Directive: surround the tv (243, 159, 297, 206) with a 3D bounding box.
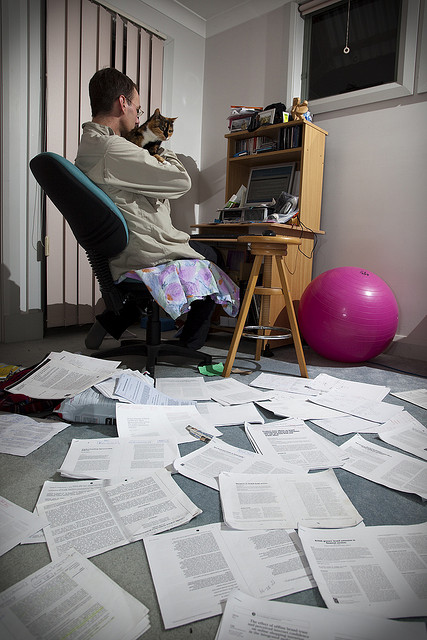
[{"bbox_3d":[0.369,-0.872,2.945,0.030,0.343,0.398,20,-10,-41],"label":"tv"}]

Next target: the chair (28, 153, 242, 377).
[{"bbox_3d":[-0.299,-0.233,1.930,0.783,0.799,0.564,-5,10,-27],"label":"chair"}]

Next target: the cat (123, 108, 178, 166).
[{"bbox_3d":[-0.306,-0.805,1.999,0.332,0.218,0.113,26,27,37],"label":"cat"}]

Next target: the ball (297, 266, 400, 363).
[{"bbox_3d":[0.715,-0.033,2.427,0.508,0.529,0.517,8,13,-2],"label":"ball"}]

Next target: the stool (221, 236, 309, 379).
[{"bbox_3d":[0.207,-0.072,2.066,0.337,0.621,0.309,-1,8,-20],"label":"stool"}]

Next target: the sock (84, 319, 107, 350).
[{"bbox_3d":[-0.618,0.078,2.433,0.088,0.169,0.040,24,12,15],"label":"sock"}]
